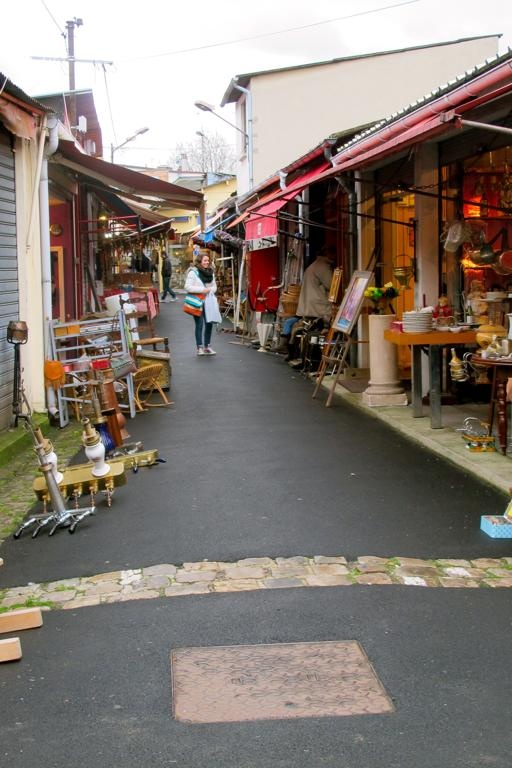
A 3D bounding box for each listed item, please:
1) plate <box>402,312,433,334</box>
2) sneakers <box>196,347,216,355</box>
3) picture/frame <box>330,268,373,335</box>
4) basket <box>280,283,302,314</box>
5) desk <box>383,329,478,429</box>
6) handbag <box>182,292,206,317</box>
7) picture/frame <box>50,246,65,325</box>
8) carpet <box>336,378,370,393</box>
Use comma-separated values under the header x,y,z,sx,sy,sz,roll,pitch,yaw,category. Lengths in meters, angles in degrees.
x,y,z,sx,sy,sz,roll,pitch,yaw,category
1.883,-0.731,7.089,0.274,0.195,0.272,-1,2,-5,plate
-1.311,-0.855,15.425,0.503,0.219,0.185,1,5,8,sneakers
1.613,-1.377,10.070,0.099,1.246,1.311,19,-34,-11,picture/frame
0.808,-2.092,14.823,0.685,0.688,0.708,1,-4,-4,basket
2.144,-0.127,7.479,1.006,1.216,1.462,-1,2,10,desk
-1.456,-1.883,14.121,0.434,0.555,0.199,3,3,5,handbag
-4.255,-2.194,12.767,0.268,1.569,0.577,-3,3,-17,picture/frame
1.678,0.031,10.355,0.482,0.193,1.302,-1,2,8,carpet
